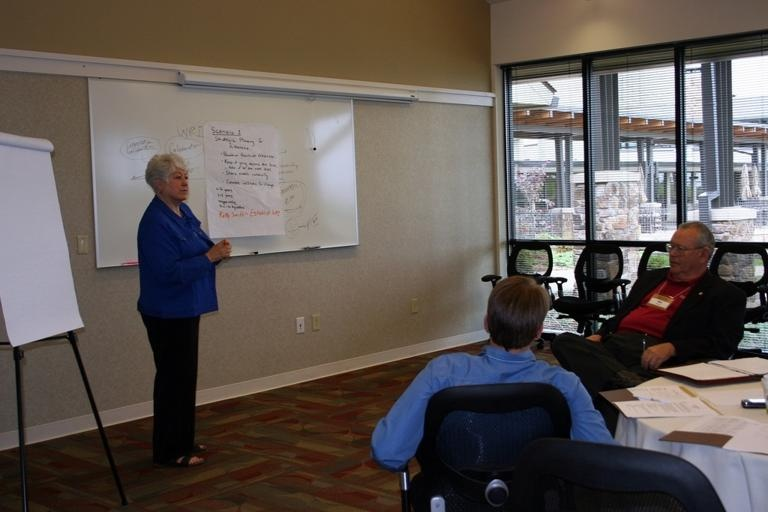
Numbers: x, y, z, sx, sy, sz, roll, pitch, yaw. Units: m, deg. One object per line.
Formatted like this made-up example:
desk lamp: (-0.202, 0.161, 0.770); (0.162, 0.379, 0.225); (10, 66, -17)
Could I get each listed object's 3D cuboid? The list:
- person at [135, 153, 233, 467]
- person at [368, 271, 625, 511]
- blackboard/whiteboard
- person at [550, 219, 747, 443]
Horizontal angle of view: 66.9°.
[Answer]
person: (-1.379, 0.359, 3.914); (0.417, 2.058, 0.568); (7, 14, 36)
person: (0.519, 0.597, 2.586); (1.119, 0.862, 0.544); (4, 3, -8)
blackboard/whiteboard: (-1.372, -0.777, 5.158); (2.650, 1.428, 0.040); (4, 18, 16)
person: (1.634, 0.506, 3.623); (1.195, 1.333, 0.866); (-7, 13, -41)
